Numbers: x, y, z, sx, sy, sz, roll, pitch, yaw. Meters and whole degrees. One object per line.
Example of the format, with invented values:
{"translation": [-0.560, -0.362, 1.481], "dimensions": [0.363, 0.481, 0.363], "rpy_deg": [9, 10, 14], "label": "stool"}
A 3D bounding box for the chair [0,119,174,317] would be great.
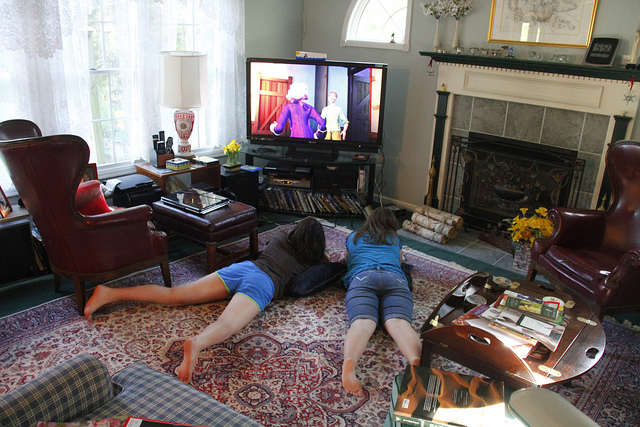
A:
{"translation": [-2.043, 0.108, 3.679], "dimensions": [1.153, 1.494, 1.109], "rpy_deg": [30, 36, 35], "label": "chair"}

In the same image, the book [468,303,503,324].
{"translation": [1.142, 0.694, 2.938], "dimensions": [0.182, 0.024, 0.159], "rpy_deg": [-18, 28, -39], "label": "book"}

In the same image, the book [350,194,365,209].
{"translation": [0.469, -0.140, 5.399], "dimensions": [0.156, 0.041, 0.154], "rpy_deg": [12, 33, -54], "label": "book"}

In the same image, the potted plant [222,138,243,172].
{"translation": [-1.044, -0.672, 5.152], "dimensions": [0.210, 0.317, 0.226], "rpy_deg": [-3, 14, 3], "label": "potted plant"}

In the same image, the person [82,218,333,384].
{"translation": [-0.790, 0.622, 3.394], "dimensions": [1.104, 0.556, 1.767], "rpy_deg": [29, 31, 32], "label": "person"}

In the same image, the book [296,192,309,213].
{"translation": [-0.225, -0.142, 5.396], "dimensions": [0.034, 0.267, 0.203], "rpy_deg": [-24, 15, 7], "label": "book"}

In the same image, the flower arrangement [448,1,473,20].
{"translation": [1.561, -2.275, 4.759], "dimensions": [0.206, 0.147, 0.197], "rpy_deg": [0, 27, 6], "label": "flower arrangement"}

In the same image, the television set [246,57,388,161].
{"translation": [-0.083, -1.260, 5.307], "dimensions": [1.732, 1.154, 0.422], "rpy_deg": [5, 17, 9], "label": "television set"}

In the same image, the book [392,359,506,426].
{"translation": [0.702, 0.997, 2.313], "dimensions": [0.569, 0.117, 0.319], "rpy_deg": [6, 22, 12], "label": "book"}

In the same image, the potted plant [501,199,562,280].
{"translation": [2.123, 0.286, 4.247], "dimensions": [0.459, 0.620, 0.581], "rpy_deg": [15, 29, 29], "label": "potted plant"}

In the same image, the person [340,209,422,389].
{"translation": [0.486, 0.689, 3.457], "dimensions": [0.541, 0.446, 1.691], "rpy_deg": [-2, 34, 7], "label": "person"}

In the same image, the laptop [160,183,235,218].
{"translation": [-1.197, -0.153, 4.314], "dimensions": [0.501, 0.117, 0.472], "rpy_deg": [20, 31, 32], "label": "laptop"}

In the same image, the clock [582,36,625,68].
{"translation": [2.795, -1.574, 4.170], "dimensions": [0.300, 0.327, 0.026], "rpy_deg": [17, -3, 35], "label": "clock"}

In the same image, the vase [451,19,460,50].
{"translation": [1.566, -2.057, 4.899], "dimensions": [0.058, 0.323, 0.134], "rpy_deg": [5, 22, 12], "label": "vase"}

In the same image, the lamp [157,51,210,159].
{"translation": [-1.511, -1.115, 4.793], "dimensions": [0.552, 1.278, 0.488], "rpy_deg": [-11, 27, -44], "label": "lamp"}

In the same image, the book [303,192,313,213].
{"translation": [-0.158, -0.132, 5.393], "dimensions": [0.032, 0.264, 0.200], "rpy_deg": [-25, 14, 7], "label": "book"}

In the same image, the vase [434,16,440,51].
{"translation": [1.379, -2.123, 5.038], "dimensions": [0.089, 0.373, 0.177], "rpy_deg": [6, 22, 12], "label": "vase"}

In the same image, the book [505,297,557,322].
{"translation": [1.465, 0.664, 2.955], "dimensions": [0.319, 0.057, 0.097], "rpy_deg": [12, 24, 25], "label": "book"}

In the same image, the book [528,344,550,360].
{"translation": [1.354, 0.869, 2.627], "dimensions": [0.143, 0.019, 0.066], "rpy_deg": [-16, 27, -36], "label": "book"}
